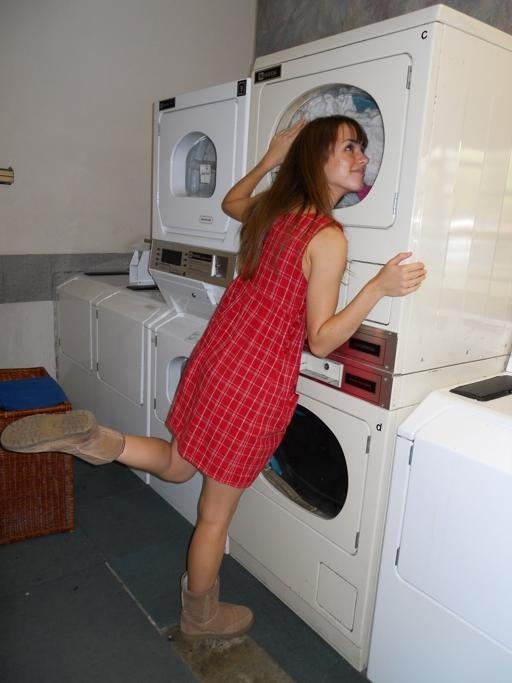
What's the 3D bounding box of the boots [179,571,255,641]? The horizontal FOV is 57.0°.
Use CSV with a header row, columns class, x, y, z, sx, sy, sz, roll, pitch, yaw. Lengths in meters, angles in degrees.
class,x,y,z,sx,sy,sz,roll,pitch,yaw
boots,-0.116,0.790,1.421,0.231,0.215,0.099,-3,24,-12
